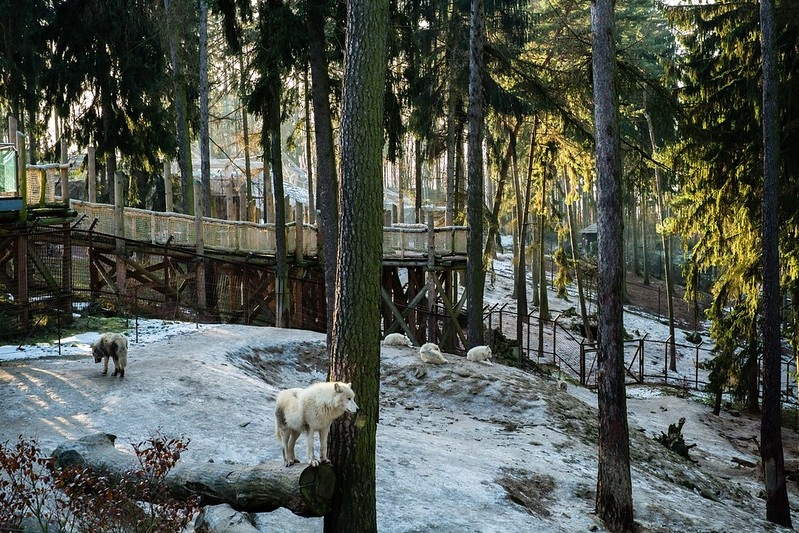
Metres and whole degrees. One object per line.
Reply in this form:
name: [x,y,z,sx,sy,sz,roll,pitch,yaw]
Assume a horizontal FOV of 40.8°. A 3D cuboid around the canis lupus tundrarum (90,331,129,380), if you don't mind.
canis lupus tundrarum: [-9.384,2.841,34.801,1.315,1.420,0.496,-2,4,32]
